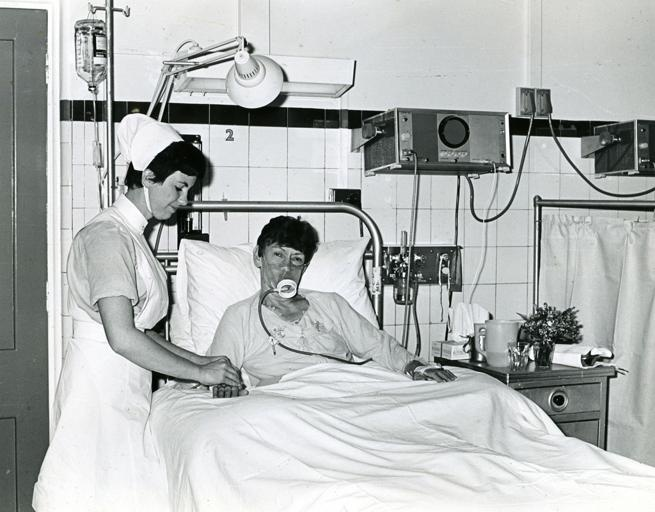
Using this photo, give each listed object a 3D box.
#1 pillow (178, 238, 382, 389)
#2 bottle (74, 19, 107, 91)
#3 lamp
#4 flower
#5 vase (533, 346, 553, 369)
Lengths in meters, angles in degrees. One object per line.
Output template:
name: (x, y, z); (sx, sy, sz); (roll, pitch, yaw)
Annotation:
pillow: (-0.361, 0.205, 4.043); (0.696, 0.745, 0.171); (1, -9, -18)
bottle: (-1.083, -0.907, 4.183); (0.139, 0.220, 0.286); (2, 1, -16)
lamp: (-0.455, -0.788, 4.162); (0.643, 0.388, 0.443); (-9, -13, -5)
flower: (1.098, 0.353, 4.433); (0.257, 0.250, 0.247); (-1, 4, -40)
vase: (1.008, 0.480, 4.289); (0.090, 0.110, 0.094); (2, -6, 1)
